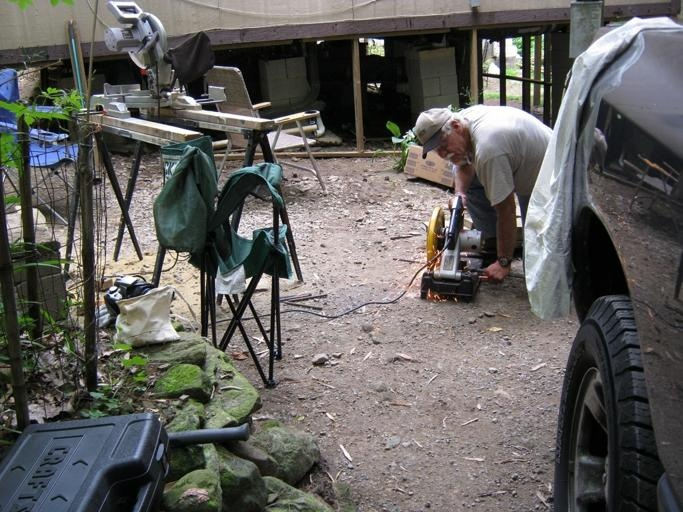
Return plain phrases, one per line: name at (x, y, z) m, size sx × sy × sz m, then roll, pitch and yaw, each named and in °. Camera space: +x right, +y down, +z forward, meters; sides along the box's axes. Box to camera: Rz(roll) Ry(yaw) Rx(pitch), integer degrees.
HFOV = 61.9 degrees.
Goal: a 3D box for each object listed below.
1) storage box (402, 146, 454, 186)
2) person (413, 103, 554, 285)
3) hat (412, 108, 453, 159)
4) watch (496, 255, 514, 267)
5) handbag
storage box at (1.404, -1.485, 8.673) m, size 0.821 × 0.574 × 0.439 m, roll 18°, pitch 57°, yaw 9°
person at (1.380, -0.565, 5.237) m, size 0.979 × 1.601 × 1.056 m, roll 4°, pitch 17°, yaw 27°
hat at (0.813, -1.066, 4.943) m, size 0.319 × 0.403 × 0.274 m, roll 3°, pitch 16°, yaw 24°
watch at (1.514, 0.023, 5.245) m, size 0.093 × 0.060 × 0.092 m, roll 24°, pitch 41°, yaw 36°
handbag at (-1.246, 0.365, 3.571) m, size 0.424 × 0.387 × 0.264 m, roll 1°, pitch 9°, yaw -17°
